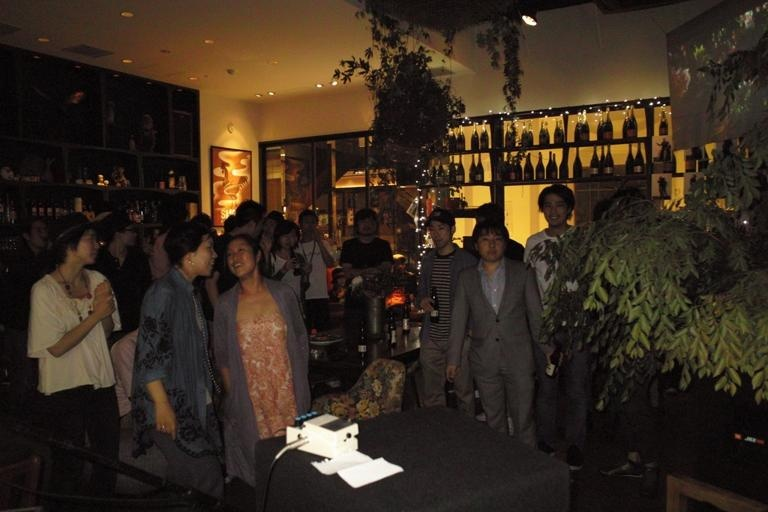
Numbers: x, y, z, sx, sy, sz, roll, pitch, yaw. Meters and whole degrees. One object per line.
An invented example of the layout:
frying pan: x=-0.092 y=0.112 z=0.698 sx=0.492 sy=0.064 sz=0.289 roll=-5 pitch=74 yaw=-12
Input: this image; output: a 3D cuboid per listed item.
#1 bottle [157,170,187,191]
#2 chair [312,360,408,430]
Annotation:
bottle: x=-3.347 y=-1.181 z=9.234 sx=0.120 sy=0.351 sz=0.363 roll=0 pitch=3 yaw=41
chair: x=-0.132 y=0.861 z=3.849 sx=0.494 sy=0.565 sz=0.377 roll=6 pitch=-4 yaw=-32
